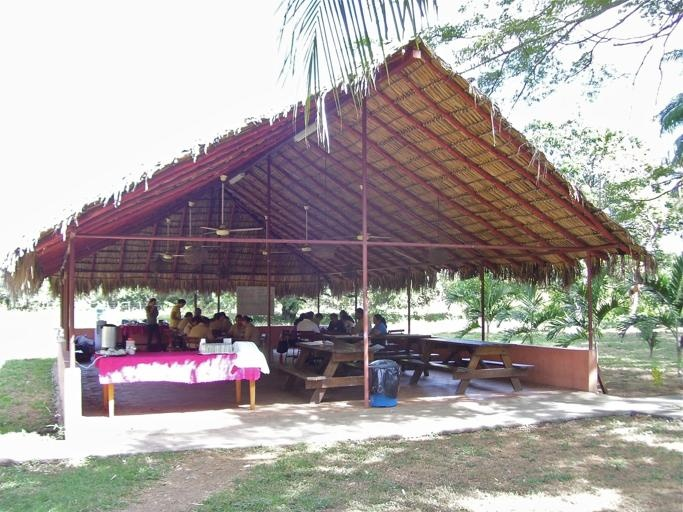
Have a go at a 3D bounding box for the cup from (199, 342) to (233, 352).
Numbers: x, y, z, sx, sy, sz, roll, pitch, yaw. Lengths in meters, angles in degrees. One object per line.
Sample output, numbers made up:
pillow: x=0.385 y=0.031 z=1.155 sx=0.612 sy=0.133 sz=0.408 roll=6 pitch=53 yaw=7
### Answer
cup: x=-1.893 y=1.375 z=8.478 sx=0.288 sy=0.098 sz=0.221 roll=5 pitch=-7 yaw=-34

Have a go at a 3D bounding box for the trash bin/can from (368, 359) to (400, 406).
trash bin/can: x=0.661 y=2.022 z=9.049 sx=0.457 sy=0.677 sz=0.331 roll=0 pitch=1 yaw=1

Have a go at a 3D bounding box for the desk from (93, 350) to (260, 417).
desk: x=-2.571 y=1.905 z=8.923 sx=2.304 sy=0.956 sz=1.621 roll=0 pitch=0 yaw=-21

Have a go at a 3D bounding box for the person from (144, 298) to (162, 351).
person: x=-4.882 y=1.762 z=14.734 sx=0.356 sy=1.403 sz=1.417 roll=0 pitch=0 yaw=-18

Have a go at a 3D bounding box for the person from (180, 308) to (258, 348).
person: x=-2.625 y=1.484 z=11.545 sx=0.937 sy=0.471 sz=0.965 roll=-12 pitch=-21 yaw=31

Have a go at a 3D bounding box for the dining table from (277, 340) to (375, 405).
dining table: x=-0.159 y=1.947 z=9.730 sx=1.171 sy=0.626 sz=1.252 roll=4 pitch=-8 yaw=-21
